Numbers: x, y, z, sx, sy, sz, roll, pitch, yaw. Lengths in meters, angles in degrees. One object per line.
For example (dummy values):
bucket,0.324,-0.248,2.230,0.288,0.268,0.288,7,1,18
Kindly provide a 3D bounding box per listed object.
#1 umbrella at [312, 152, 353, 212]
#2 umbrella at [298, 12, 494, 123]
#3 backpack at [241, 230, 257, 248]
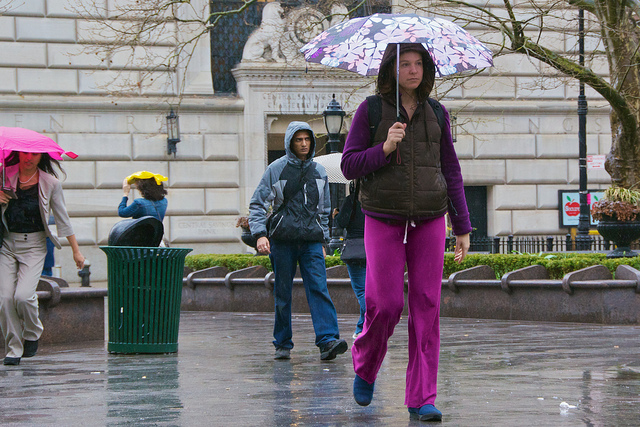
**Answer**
umbrella,0.283,-0.740,39.012,1.577,1.402,1.243,1,-1,-2
umbrella,1.245,-2.746,26.767,2.888,1.414,0.519,-2,-1,4
backpack,-1.773,0.620,40.284,0.553,0.350,0.522,8,-3,-4
